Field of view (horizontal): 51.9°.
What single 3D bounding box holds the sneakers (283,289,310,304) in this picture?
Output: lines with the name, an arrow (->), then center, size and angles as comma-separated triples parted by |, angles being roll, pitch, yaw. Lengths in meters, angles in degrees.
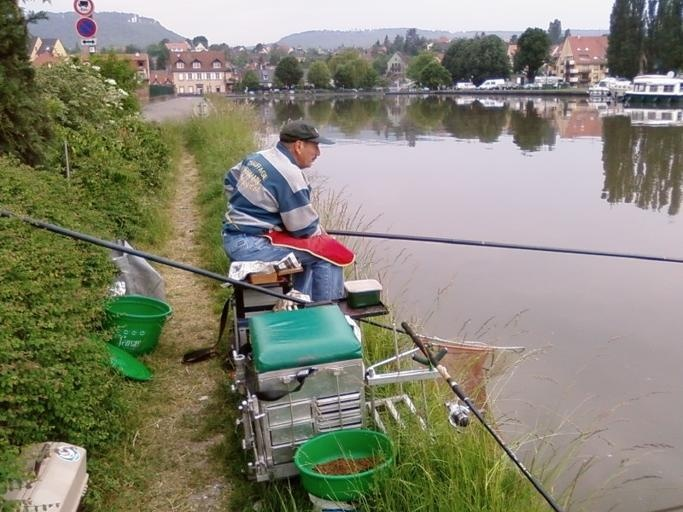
sneakers -> -0.350, 0.325, 5.736 | 0.134, 0.056, 0.115 | 7, 10, 26

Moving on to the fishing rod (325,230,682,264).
fishing rod -> 2.173, -0.117, 9.727 | 3.765, 0.070, 0.152 | 6, 31, 0

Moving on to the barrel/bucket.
barrel/bucket -> -1.893, 0.627, 6.320 | 0.609, 0.432, 0.626 | 12, 9, -2

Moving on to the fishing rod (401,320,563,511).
fishing rod -> 1.087, 1.242, 5.402 | 0.127, 0.130, 2.389 | -8, 36, -26

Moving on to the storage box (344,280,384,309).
storage box -> 0.155, 0.277, 5.548 | 0.244, 0.126, 0.198 | -6, 19, -16

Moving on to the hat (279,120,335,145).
hat -> -0.309, -1.071, 6.134 | 0.390, 0.150, 0.255 | 0, 17, -27

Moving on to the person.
person -> -0.504, -0.298, 6.374 | 1.132, 1.839, 0.845 | 4, 24, -5
